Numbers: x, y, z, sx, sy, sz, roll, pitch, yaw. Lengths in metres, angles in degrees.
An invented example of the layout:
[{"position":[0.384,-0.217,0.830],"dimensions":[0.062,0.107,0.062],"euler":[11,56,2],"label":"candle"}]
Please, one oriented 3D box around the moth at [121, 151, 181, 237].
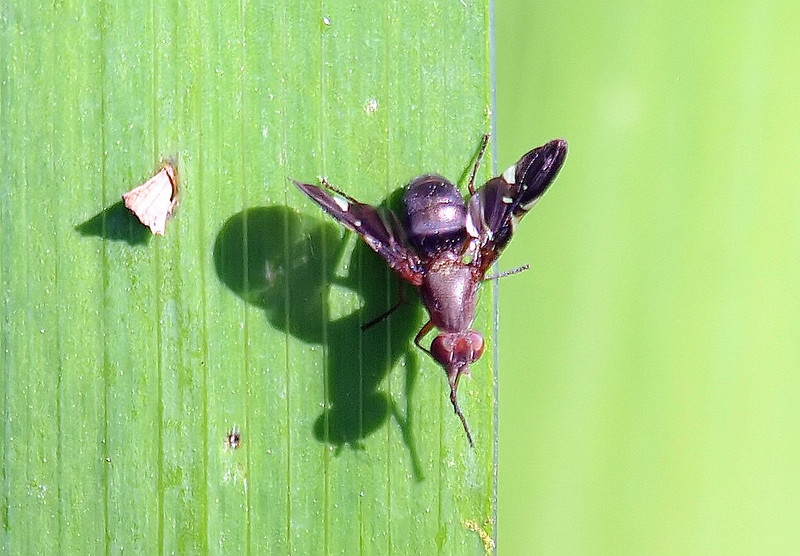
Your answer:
[{"position":[-0.502,-0.172,2.283],"dimensions":[0.109,0.159,0.039],"euler":[16,-14,-38],"label":"moth"}]
